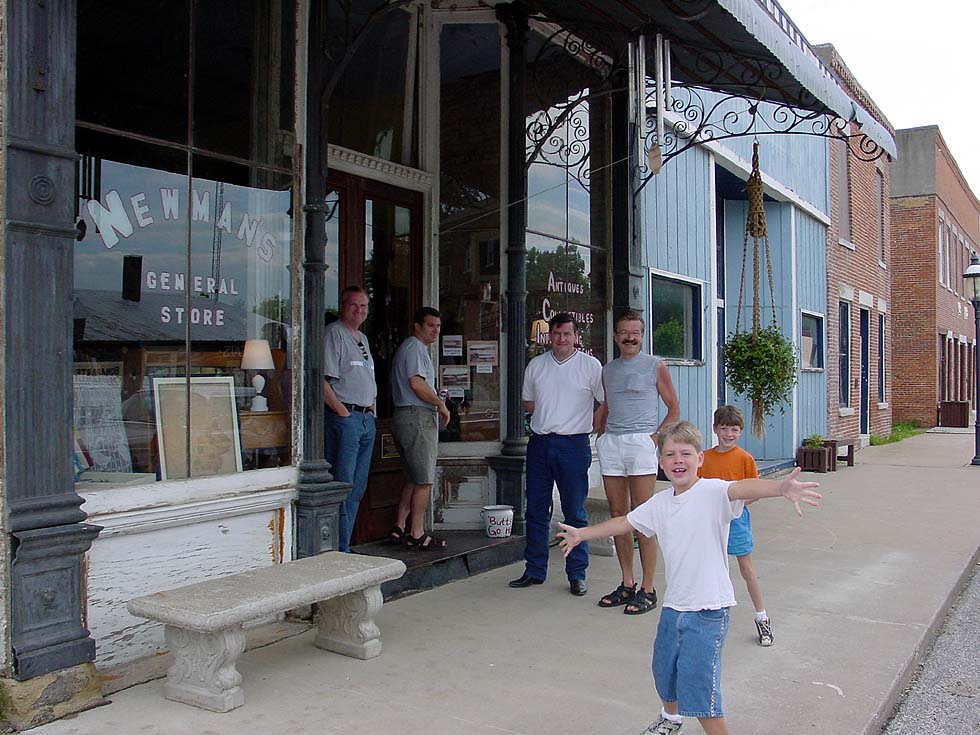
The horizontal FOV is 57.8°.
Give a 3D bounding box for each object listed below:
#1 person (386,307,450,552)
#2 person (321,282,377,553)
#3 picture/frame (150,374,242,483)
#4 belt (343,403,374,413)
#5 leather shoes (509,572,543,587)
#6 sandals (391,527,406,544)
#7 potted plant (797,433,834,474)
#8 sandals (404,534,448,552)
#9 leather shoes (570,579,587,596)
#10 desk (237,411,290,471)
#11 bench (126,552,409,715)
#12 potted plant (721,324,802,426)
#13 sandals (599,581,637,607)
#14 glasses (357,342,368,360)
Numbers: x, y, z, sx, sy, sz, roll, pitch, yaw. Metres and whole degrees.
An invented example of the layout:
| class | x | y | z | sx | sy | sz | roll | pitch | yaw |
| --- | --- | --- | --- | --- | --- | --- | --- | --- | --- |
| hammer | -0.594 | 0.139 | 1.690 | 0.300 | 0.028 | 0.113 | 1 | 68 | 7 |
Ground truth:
| class | x | y | z | sx | sy | sz | roll | pitch | yaw |
| --- | --- | --- | --- | --- | --- | --- | --- | --- | --- |
| person | -0.592 | 0.495 | 7.344 | 0.457 | 1.977 | 0.441 | 1 | 4 | -8 |
| person | -1.085 | 0.366 | 6.837 | 0.394 | 1.948 | 0.705 | 1 | 5 | -11 |
| picture/frame | -1.889 | 0.396 | 5.594 | 0.035 | 0.797 | 0.645 | -11 | -4 | 37 |
| belt | -1.012 | 0.318 | 6.938 | 0.093 | 0.083 | 0.273 | 6 | 6 | 43 |
| leather shoes | 0.284 | 1.668 | 6.965 | 0.258 | 0.088 | 0.249 | 3 | 5 | 10 |
| sandals | -0.755 | 1.409 | 7.370 | 0.088 | 0.109 | 0.158 | -2 | -11 | 12 |
| potted plant | 5.477 | 1.231 | 14.901 | 0.467 | 0.783 | 0.952 | 0 | 3 | 22 |
| sandals | -0.534 | 1.447 | 7.307 | 0.268 | 0.113 | 0.155 | -1 | 0 | -2 |
| leather shoes | 0.674 | 1.683 | 6.776 | 0.073 | 0.091 | 0.130 | 2 | 5 | 16 |
| desk | -1.509 | 0.475 | 6.007 | 0.373 | 0.381 | 0.322 | 0 | 2 | -8 |
| bench | -1.303 | 1.519 | 5.170 | 0.602 | 0.596 | 1.423 | 6 | 6 | 42 |
| potted plant | 3.717 | 0.083 | 12.583 | 1.240 | 1.739 | 1.294 | 0 | 2 | -3 |
| sandals | 0.939 | 1.667 | 6.511 | 0.349 | 0.145 | 0.117 | 2 | -5 | -37 |
| glasses | -1.016 | -0.131 | 7.049 | 0.036 | 0.132 | 0.078 | -27 | -11 | 28 |
